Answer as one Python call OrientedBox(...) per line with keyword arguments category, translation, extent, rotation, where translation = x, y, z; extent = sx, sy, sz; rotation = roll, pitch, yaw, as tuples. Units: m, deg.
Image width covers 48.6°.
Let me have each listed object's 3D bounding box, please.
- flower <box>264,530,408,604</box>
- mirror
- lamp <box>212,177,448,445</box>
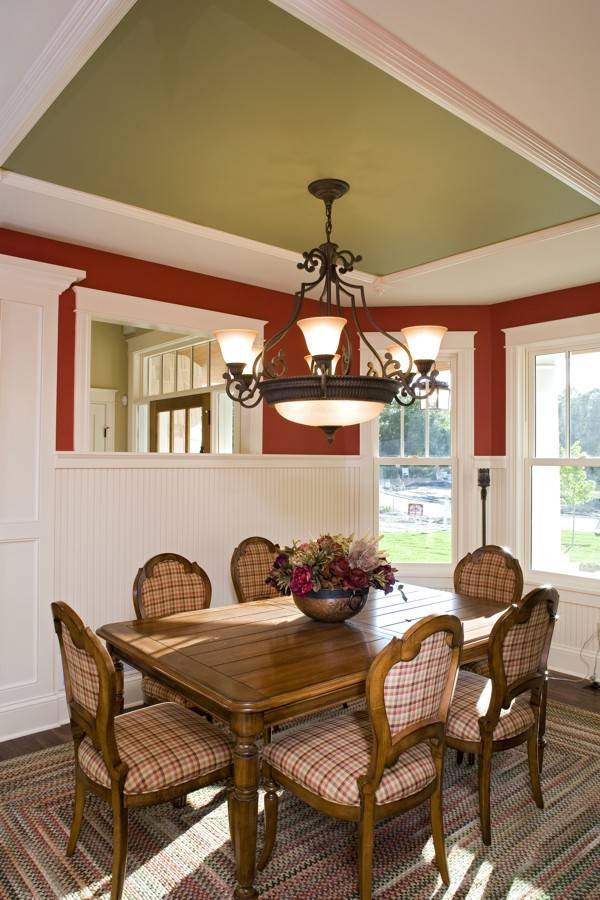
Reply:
OrientedBox(category="flower", translation=(0.156, 0.490, 2.879), extent=(0.464, 0.243, 0.445), rotation=(0, 1, 29))
OrientedBox(category="mirror", translation=(-0.927, -0.552, 4.786), extent=(0.135, 1.144, 1.330), rotation=(2, 1, 45))
OrientedBox(category="lamp", translation=(0.130, -0.571, 2.598), extent=(0.800, 1.011, 0.832), rotation=(0, -1, -23))
